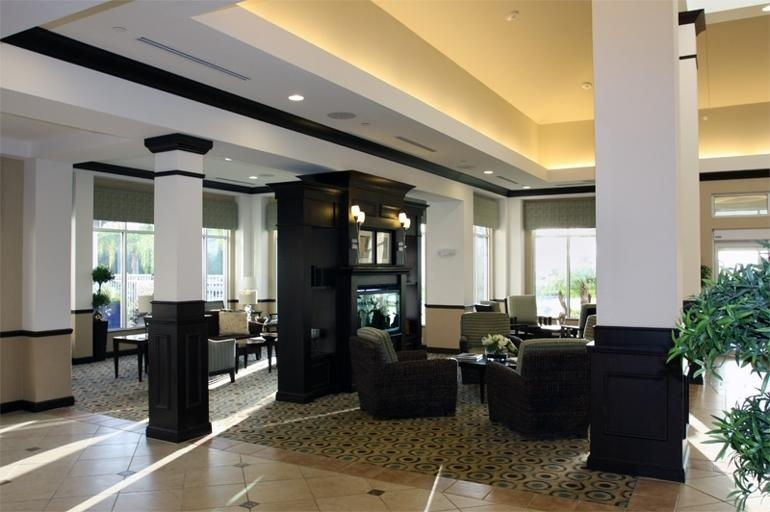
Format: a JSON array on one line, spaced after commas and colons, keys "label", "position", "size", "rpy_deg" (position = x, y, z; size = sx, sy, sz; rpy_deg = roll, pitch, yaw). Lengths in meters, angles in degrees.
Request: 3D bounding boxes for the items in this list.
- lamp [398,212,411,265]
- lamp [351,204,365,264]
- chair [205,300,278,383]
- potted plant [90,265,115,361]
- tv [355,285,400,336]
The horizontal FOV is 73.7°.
[{"label": "lamp", "position": [0.380, -0.343, 9.881], "size": [0.176, 0.981, 0.361], "rpy_deg": [0, 3, 12]}, {"label": "lamp", "position": [-0.431, -0.367, 8.784], "size": [0.190, 0.996, 0.416], "rpy_deg": [0, 3, 11]}, {"label": "chair", "position": [-2.929, 1.796, 10.466], "size": [0.834, 1.025, 1.819], "rpy_deg": [-1, -1, 17]}, {"label": "potted plant", "position": [-6.110, 1.222, 11.124], "size": [0.417, 2.024, 0.783], "rpy_deg": [-2, 3, -29]}, {"label": "tv", "position": [-0.155, 0.959, 9.013], "size": [0.373, 0.868, 1.053], "rpy_deg": [-3, -5, 35]}]
